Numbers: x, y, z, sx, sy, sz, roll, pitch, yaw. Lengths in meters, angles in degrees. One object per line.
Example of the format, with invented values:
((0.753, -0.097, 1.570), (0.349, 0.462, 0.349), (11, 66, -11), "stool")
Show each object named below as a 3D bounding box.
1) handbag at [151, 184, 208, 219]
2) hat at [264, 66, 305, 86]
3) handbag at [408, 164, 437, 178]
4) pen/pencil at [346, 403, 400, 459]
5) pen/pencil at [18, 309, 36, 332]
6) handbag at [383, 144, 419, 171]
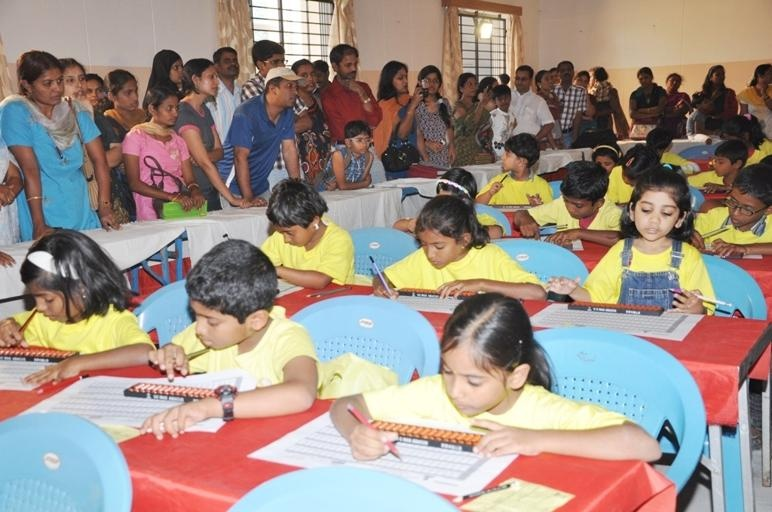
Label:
((-1.362, -0.386, 4.002), (0.235, 0.086, 0.222), (-16, 24, -41), "handbag")
((-0.731, -1.268, 4.203), (0.213, 0.085, 0.149), (-4, 11, 4), "hat")
((0.354, -0.829, 5.846), (0.175, 0.071, 0.180), (5, 13, 21), "handbag")
((-0.040, 0.467, 1.592), (0.024, 0.016, 0.180), (-32, 37, -13), "pen/pencil")
((-1.415, 0.256, 2.361), (0.014, 0.109, 0.015), (33, 8, -24), "pen/pencil")
((0.141, -0.947, 5.818), (0.260, 0.259, 0.118), (-15, 9, -28), "handbag")
